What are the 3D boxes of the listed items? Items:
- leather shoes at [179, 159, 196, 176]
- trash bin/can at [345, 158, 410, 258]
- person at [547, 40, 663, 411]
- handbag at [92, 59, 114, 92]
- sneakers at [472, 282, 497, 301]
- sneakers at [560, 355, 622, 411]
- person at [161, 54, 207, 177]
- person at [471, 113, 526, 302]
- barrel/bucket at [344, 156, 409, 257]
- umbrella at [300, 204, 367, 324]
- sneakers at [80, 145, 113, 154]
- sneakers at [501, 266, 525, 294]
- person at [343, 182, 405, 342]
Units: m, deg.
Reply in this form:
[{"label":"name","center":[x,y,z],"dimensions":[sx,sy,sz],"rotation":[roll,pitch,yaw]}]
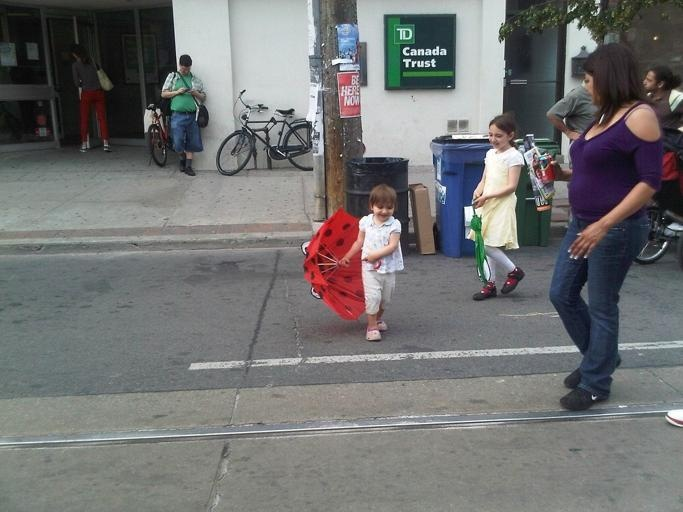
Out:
[{"label":"leather shoes","center":[-3.137,-1.792,12.092],"dimensions":[0.198,0.214,0.568],"rotation":[-12,27,-31]},{"label":"trash bin/can","center":[0.460,-0.764,7.732],"dimensions":[0.960,1.268,0.917],"rotation":[-2,11,0]},{"label":"person","center":[1.742,-0.158,3.964],"dimensions":[0.605,2.390,0.576],"rotation":[0,17,10]},{"label":"handbag","center":[-5.656,-4.249,14.209],"dimensions":[0.294,0.551,0.460],"rotation":[-9,17,-19]},{"label":"sneakers","center":[1.471,0.384,6.302],"dimensions":[0.336,0.212,0.121],"rotation":[-4,8,-3]},{"label":"sneakers","center":[1.812,0.906,4.295],"dimensions":[0.706,0.278,0.233],"rotation":[1,12,-33]},{"label":"person","center":[-3.096,-2.824,12.061],"dimensions":[0.601,2.310,0.732],"rotation":[5,18,24]},{"label":"person","center":[1.705,-0.533,6.405],"dimensions":[0.551,1.923,0.942],"rotation":[2,17,16]},{"label":"barrel/bucket","center":[0.463,-0.757,7.751],"dimensions":[0.976,1.296,0.936],"rotation":[-2,11,0]},{"label":"umbrella","center":[-0.046,0.104,5.376],"dimensions":[0.356,0.872,0.886],"rotation":[-9,25,33]},{"label":"sneakers","center":[-6.030,-2.614,14.675],"dimensions":[0.588,0.167,0.127],"rotation":[-4,24,-14]},{"label":"sneakers","center":[1.890,0.276,6.543],"dimensions":[0.284,0.122,0.096],"rotation":[-50,29,-3]},{"label":"person","center":[0.291,0.070,5.212],"dimensions":[0.479,1.350,0.302],"rotation":[-2,17,4]}]
